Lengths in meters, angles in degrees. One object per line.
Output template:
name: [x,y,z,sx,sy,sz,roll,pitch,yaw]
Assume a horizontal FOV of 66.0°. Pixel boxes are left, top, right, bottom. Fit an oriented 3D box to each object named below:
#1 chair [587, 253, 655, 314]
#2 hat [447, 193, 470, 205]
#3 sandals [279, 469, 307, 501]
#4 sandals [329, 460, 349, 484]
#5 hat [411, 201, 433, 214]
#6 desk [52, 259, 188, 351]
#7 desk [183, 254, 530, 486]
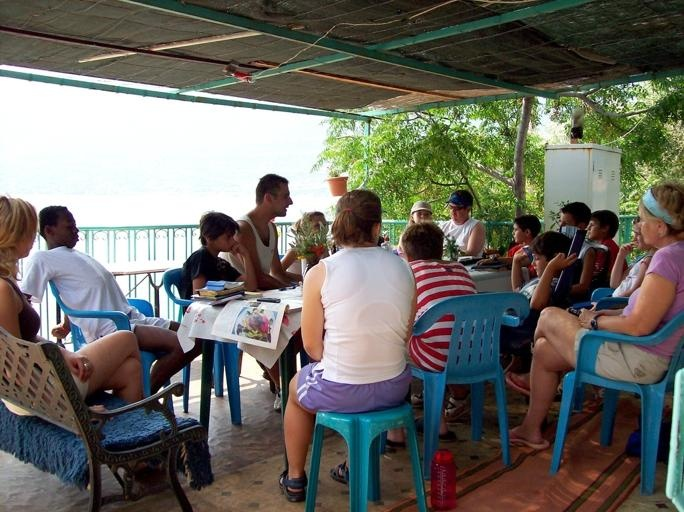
chair: [2.245,0.210,4.164,0.575,0.568,0.401,0,20,31]
hat: [1.509,-0.716,6.560,0.232,0.113,0.161,9,1,-14]
sandals: [-0.299,1.355,3.107,0.105,0.091,0.216,0,6,-9]
sandals: [-0.014,1.355,3.347,0.082,0.096,0.198,1,2,-37]
hat: [0.952,-0.580,6.320,0.194,0.127,0.255,3,-17,-1]
desk: [-1.734,0.280,4.175,0.793,0.800,0.604,-6,0,3]
desk: [-0.191,0.331,3.265,1.342,0.761,1.569,7,10,42]
